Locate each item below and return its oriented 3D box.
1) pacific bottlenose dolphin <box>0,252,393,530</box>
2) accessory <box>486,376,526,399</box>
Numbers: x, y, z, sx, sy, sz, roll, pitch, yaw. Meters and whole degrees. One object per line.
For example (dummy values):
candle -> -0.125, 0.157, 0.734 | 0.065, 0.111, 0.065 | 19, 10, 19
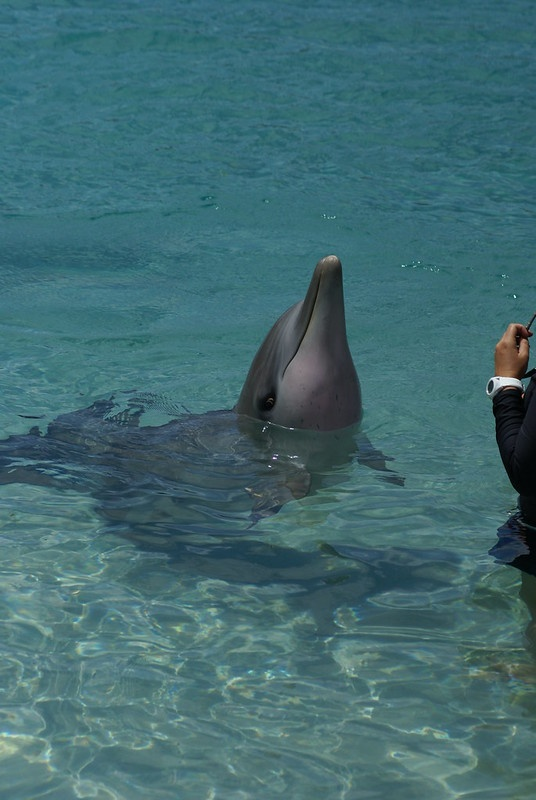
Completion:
pacific bottlenose dolphin -> -0.374, -0.003, 3.652 | 1.477, 0.693, 1.015 | -9, 2, 31
accessory -> 0.724, -0.044, 2.867 | 0.113, 0.094, 0.059 | 0, 51, -1
